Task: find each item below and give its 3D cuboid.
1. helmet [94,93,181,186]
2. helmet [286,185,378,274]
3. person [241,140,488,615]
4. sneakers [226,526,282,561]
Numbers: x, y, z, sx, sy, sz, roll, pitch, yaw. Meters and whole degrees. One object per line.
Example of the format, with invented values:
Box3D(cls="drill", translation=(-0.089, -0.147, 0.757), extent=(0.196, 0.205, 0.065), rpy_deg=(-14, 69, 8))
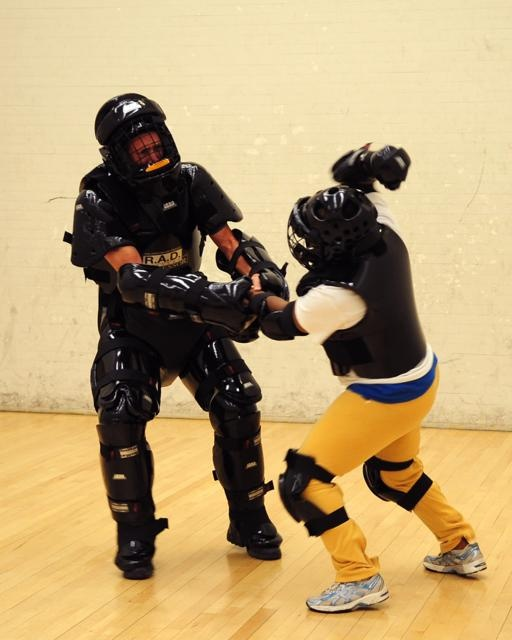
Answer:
Box3D(cls="helmet", translation=(-0.374, -0.576, 1.905), extent=(0.255, 0.267, 0.135), rpy_deg=(-4, 1, -6))
Box3D(cls="helmet", translation=(0.194, -0.244, 1.539), extent=(0.264, 0.164, 0.160), rpy_deg=(1, 47, 10))
Box3D(cls="person", translation=(0.295, 0.156, 1.690), extent=(0.368, 1.018, 0.568), rpy_deg=(-3, 1, 38))
Box3D(cls="sneakers", translation=(-0.003, 0.783, 2.154), extent=(0.187, 0.063, 0.099), rpy_deg=(-3, -2, 44))
